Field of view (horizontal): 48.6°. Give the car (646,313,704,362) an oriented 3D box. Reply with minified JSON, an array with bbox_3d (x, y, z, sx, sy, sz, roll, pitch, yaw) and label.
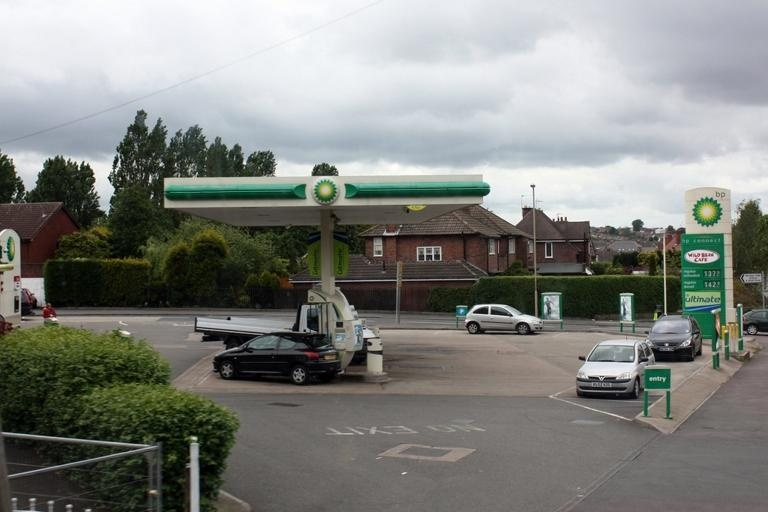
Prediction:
[{"bbox_3d":[13.236,3.674,38.763,2.012,1.878,2.867,-2,-3,23],"label":"car"}]

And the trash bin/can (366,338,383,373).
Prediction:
[{"bbox_3d":[-0.237,3.872,33.226,0.616,1.426,0.590,3,-7,-36],"label":"trash bin/can"}]

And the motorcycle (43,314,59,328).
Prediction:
[{"bbox_3d":[-13.290,2.517,33.913,0.493,0.251,20.494,0,-3,-22],"label":"motorcycle"}]

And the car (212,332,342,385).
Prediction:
[{"bbox_3d":[-3.943,3.774,32.175,3.571,1.347,2.079,3,-1,16],"label":"car"}]

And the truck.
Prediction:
[{"bbox_3d":[-4.396,3.602,35.495,8.281,2.704,3.091,-1,-1,12],"label":"truck"}]

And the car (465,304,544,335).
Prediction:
[{"bbox_3d":[7.129,3.730,50.457,3.931,1.455,1.920,-2,0,10],"label":"car"}]
